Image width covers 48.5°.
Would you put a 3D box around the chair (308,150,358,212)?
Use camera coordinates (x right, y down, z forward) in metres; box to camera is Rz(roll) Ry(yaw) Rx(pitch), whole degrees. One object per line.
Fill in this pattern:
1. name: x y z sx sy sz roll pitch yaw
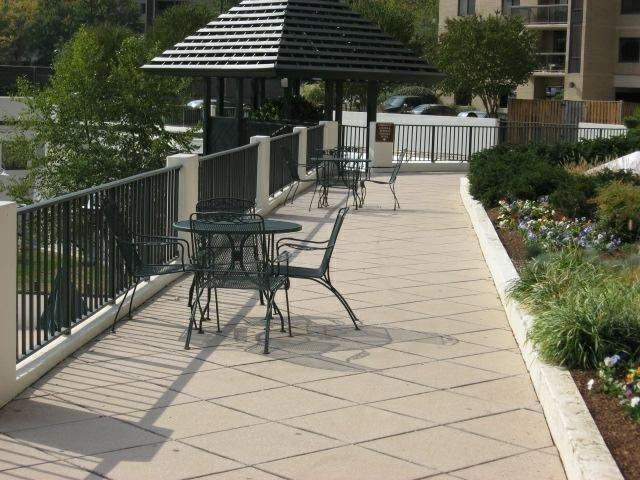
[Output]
1. chair: 0.410 -1.555 16.232 0.996 1.086 1.652 2 -9 7

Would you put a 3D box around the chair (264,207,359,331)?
1. chair: -0.113 0.256 7.253 1.007 1.101 0.782 -1 4 6

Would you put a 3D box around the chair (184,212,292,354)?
1. chair: -0.806 0.327 6.991 0.921 1.353 0.917 4 12 11

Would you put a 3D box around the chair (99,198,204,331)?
1. chair: -1.647 0.221 7.103 0.868 1.158 0.788 -2 4 -4
